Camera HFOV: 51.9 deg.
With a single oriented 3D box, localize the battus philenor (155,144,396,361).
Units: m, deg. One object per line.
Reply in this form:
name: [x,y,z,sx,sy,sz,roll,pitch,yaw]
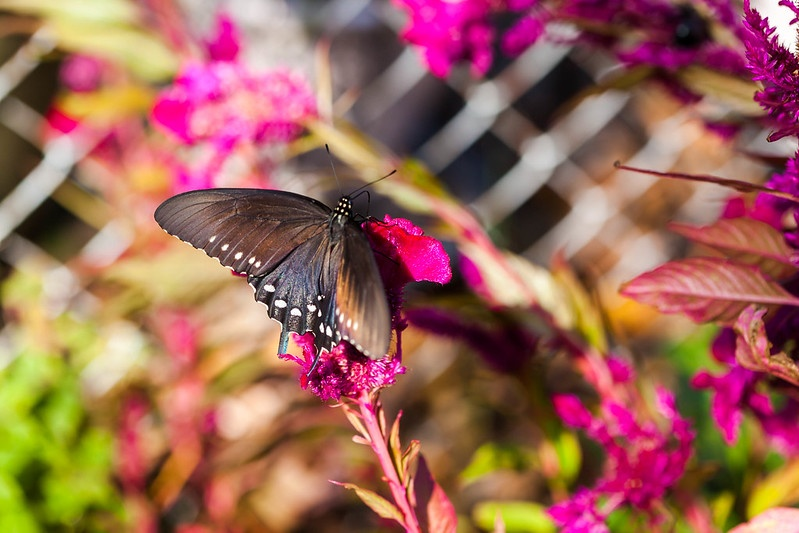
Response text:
battus philenor: [-0.132,-0.012,1.157,0.173,0.335,0.255,-29,-32,-54]
